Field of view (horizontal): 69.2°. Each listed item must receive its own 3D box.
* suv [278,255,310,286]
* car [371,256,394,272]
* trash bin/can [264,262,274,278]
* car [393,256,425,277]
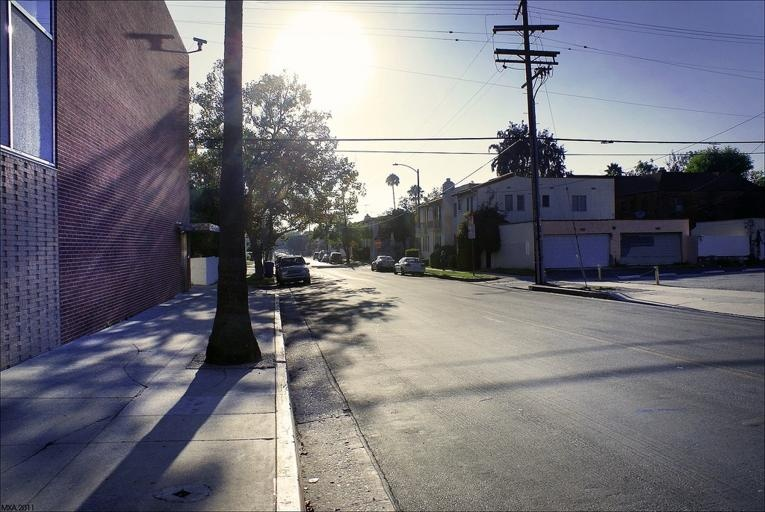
[{"bbox_3d":[-5.624,0.975,34.500,1.741,1.739,2.048,-3,9,-18],"label":"suv"},{"bbox_3d":[0.041,0.830,53.320,1.389,1.523,3.403,-2,8,-16],"label":"car"},{"bbox_3d":[-8.956,0.968,43.440,0.563,1.103,1.088,7,10,39],"label":"trash bin/can"},{"bbox_3d":[2.280,0.895,45.537,1.486,1.486,3.582,-3,9,-20],"label":"car"}]
